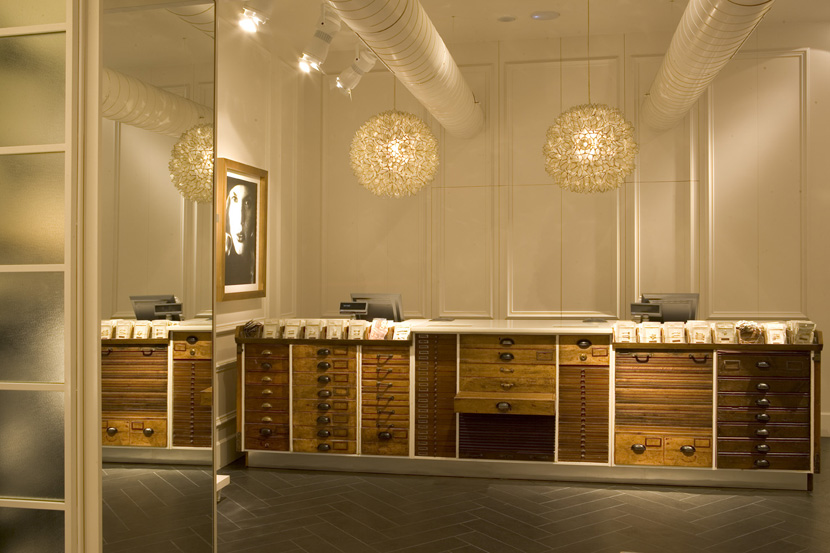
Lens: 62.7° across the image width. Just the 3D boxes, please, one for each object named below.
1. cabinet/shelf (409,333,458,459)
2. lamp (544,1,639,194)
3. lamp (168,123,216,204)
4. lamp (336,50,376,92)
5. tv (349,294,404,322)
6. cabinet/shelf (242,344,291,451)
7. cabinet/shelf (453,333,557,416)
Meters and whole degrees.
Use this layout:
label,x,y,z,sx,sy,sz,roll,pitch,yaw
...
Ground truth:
label,x,y,z,sx,sy,sz,roll,pitch,yaw
cabinet/shelf,0.200,1.101,6.366,0.378,1.128,0.222,0,6,1
lamp,1.611,-1.240,6.234,0.912,1.846,0.851,-1,1,14
lamp,-1.118,-0.581,3.452,0.106,0.326,0.357,7,-2,38
lamp,-0.554,-1.964,6.432,0.278,0.386,0.413,0,6,8
tv,-0.397,0.315,7.074,0.450,0.284,0.421,0,-10,9
cabinet/shelf,-1.439,1.156,6.589,0.424,1.001,0.229,-1,6,-1
cabinet/shelf,0.861,0.891,6.273,0.710,0.536,0.888,0,-3,9
